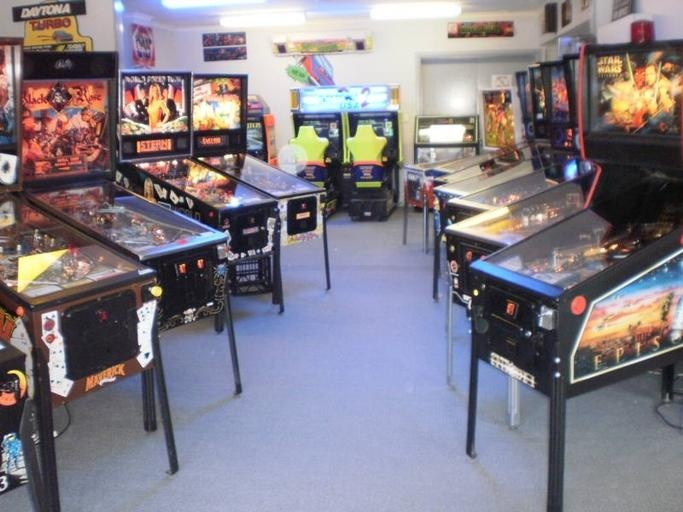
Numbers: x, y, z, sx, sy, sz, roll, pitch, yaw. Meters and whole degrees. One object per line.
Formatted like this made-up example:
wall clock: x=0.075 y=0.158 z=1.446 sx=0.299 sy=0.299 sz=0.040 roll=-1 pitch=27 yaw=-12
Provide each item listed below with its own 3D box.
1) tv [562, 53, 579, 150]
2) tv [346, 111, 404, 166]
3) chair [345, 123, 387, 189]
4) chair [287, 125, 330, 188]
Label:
tv: x=1.625 y=-1.089 z=4.020 sx=0.130 sy=0.660 sz=0.511 roll=4 pitch=16 yaw=22
tv: x=0.497 y=-1.692 z=8.493 sx=0.871 sy=0.881 sz=0.654 roll=0 pitch=6 yaw=4
chair: x=0.344 y=-1.456 z=8.123 sx=0.560 sy=0.873 sz=0.432 roll=-1 pitch=15 yaw=1
chair: x=-0.480 y=-1.433 z=8.417 sx=0.584 sy=0.958 sz=0.547 roll=0 pitch=6 yaw=2
